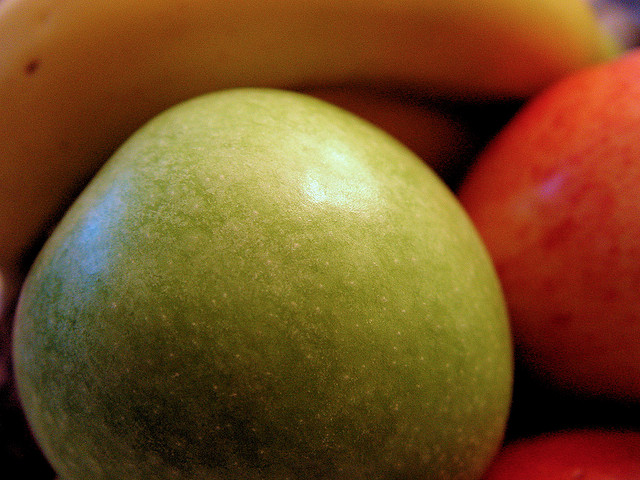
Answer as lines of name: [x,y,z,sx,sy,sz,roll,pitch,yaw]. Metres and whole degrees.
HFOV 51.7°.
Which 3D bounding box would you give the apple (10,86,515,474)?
apple: [-0.035,0.060,0.636,0.337,0.336,0.370,35,41,-10]
